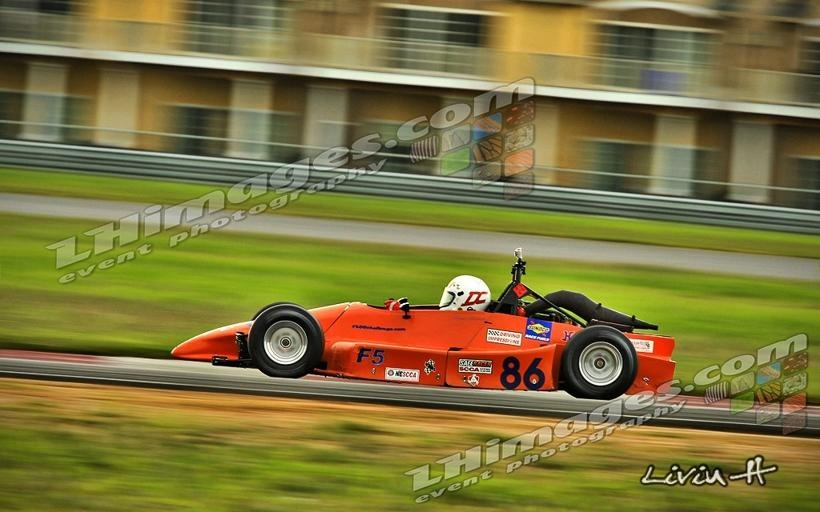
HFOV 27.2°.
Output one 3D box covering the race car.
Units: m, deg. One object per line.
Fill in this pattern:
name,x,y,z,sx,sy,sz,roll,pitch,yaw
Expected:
race car,0.174,1.211,26.779,7.752,1.723,2.760,2,-5,0
